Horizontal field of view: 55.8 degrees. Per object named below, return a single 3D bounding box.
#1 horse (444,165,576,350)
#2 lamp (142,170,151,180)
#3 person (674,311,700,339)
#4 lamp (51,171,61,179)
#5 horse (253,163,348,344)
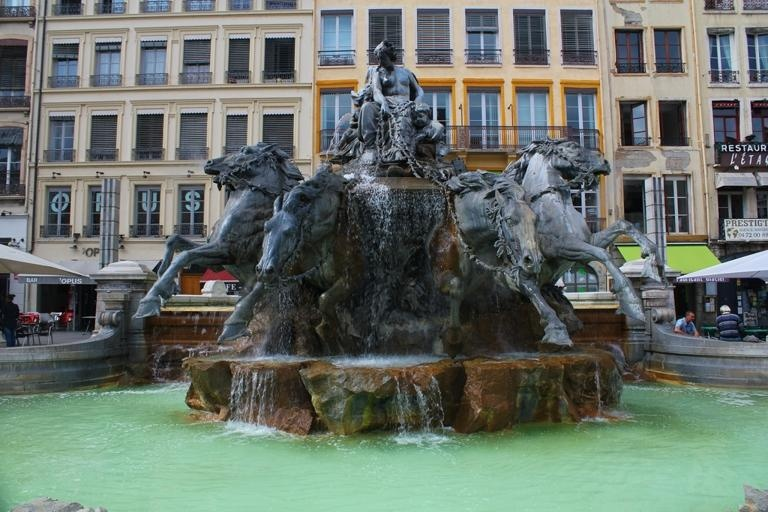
[{"bbox_3d":[2.423,-0.055,14.705,2.547,3.183,0.689,12,19,43],"label":"horse"},{"bbox_3d":[-11.952,-4.096,36.560,0.573,0.569,0.298,0,-7,-8],"label":"lamp"},{"bbox_3d":[8.428,1.901,20.127,0.496,0.575,1.299,8,17,31],"label":"person"},{"bbox_3d":[-16.648,-4.121,36.649,0.376,0.371,0.108,0,0,-10],"label":"lamp"},{"bbox_3d":[-1.552,-0.047,15.152,2.261,3.251,0.693,-14,18,-42],"label":"horse"}]
